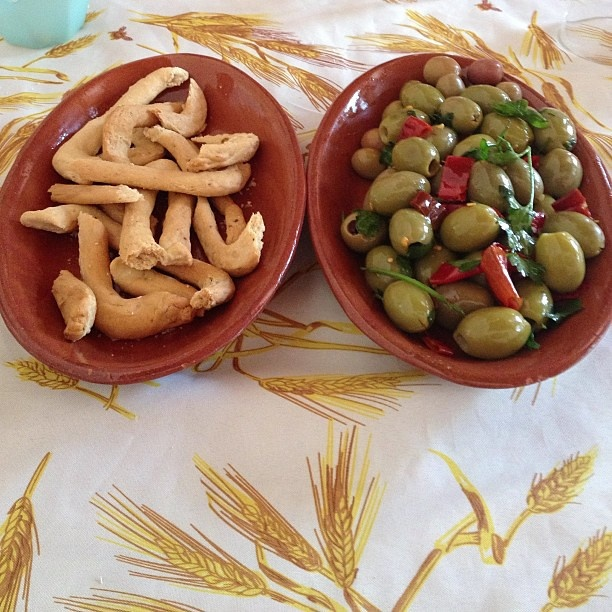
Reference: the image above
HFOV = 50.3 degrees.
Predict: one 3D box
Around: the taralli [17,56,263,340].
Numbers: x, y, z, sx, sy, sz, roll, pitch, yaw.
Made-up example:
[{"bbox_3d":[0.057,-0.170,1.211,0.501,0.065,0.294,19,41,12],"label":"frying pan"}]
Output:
[{"bbox_3d":[-0.227,-0.160,0.911,0.374,0.107,0.358,-1,53,0],"label":"taralli"}]
